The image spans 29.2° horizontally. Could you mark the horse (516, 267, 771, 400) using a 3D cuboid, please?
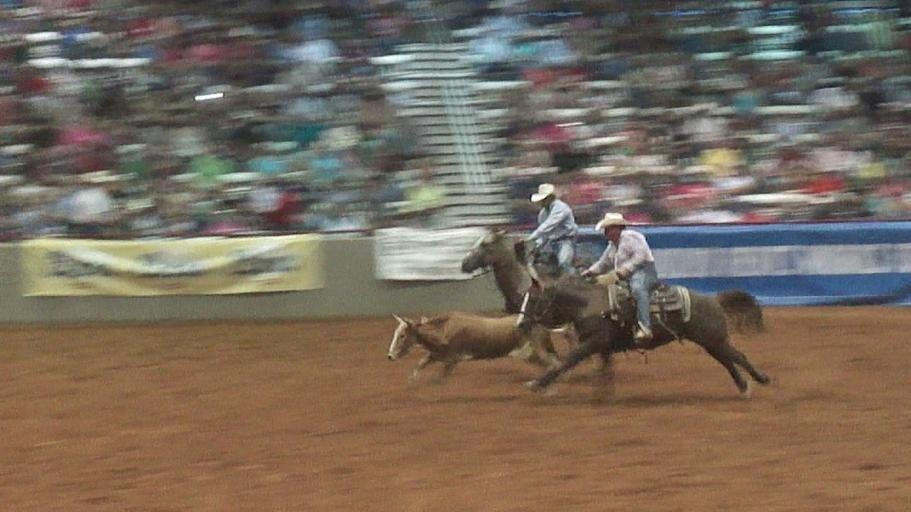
[{"bbox_3d":[2.960,1.272,28.151,4.443,1.643,0.882,1,-6,-21],"label":"horse"}]

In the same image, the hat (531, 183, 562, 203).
[{"bbox_3d":[1.458,-1.025,28.827,0.434,0.160,0.300,-28,17,-31],"label":"hat"}]

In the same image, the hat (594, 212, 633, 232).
[{"bbox_3d":[2.488,-0.544,27.908,0.514,0.173,0.396,-10,-4,3],"label":"hat"}]
